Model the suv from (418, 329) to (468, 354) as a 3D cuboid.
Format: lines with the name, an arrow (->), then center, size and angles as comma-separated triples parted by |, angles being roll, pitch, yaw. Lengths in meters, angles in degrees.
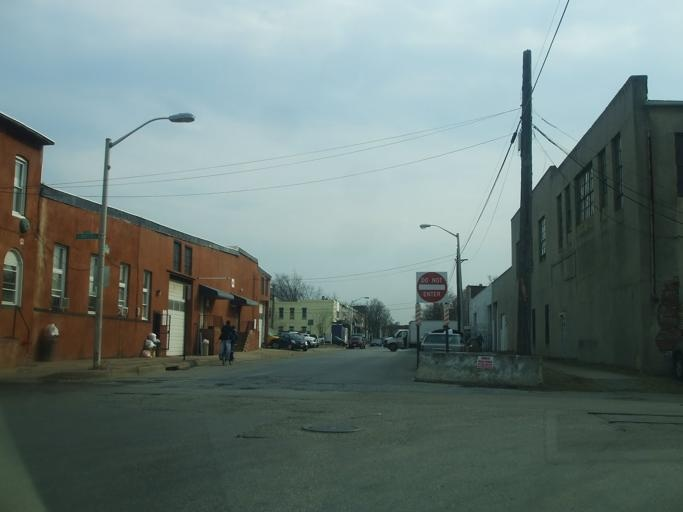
suv -> 4.742, 4.050, 39.541 | 1.190, 1.019, 2.363 | 0, 0, 17

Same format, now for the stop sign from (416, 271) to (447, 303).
stop sign -> 2.630, 0.911, 24.618 | 0.719, 0.870, 0.101 | 3, -6, 5
